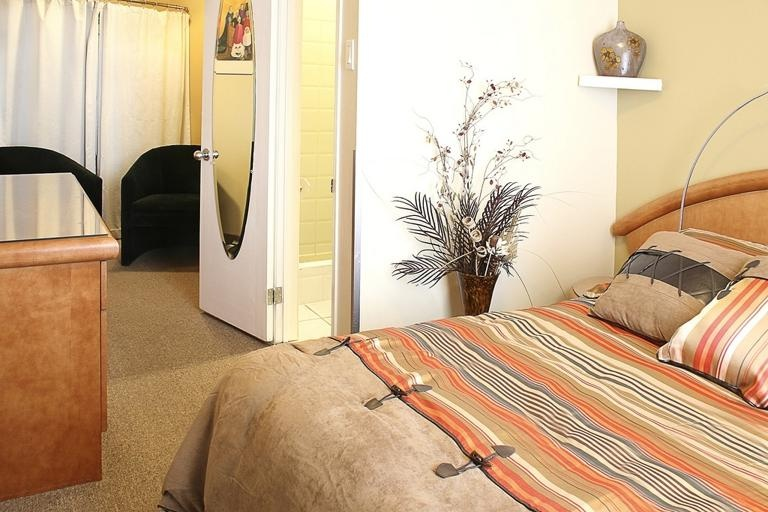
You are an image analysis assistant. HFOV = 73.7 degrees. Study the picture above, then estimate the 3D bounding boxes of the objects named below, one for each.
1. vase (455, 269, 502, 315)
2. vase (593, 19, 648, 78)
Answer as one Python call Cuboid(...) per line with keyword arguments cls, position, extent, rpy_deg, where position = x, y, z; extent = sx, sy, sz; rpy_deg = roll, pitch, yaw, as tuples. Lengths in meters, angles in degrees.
Cuboid(cls="vase", position=(0.547, 0.210, 3.023), extent=(0.241, 0.264, 0.255), rpy_deg=(3, 6, 36))
Cuboid(cls="vase", position=(1.419, -1.244, 3.107), extent=(0.305, 0.351, 0.317), rpy_deg=(7, 19, 23))
